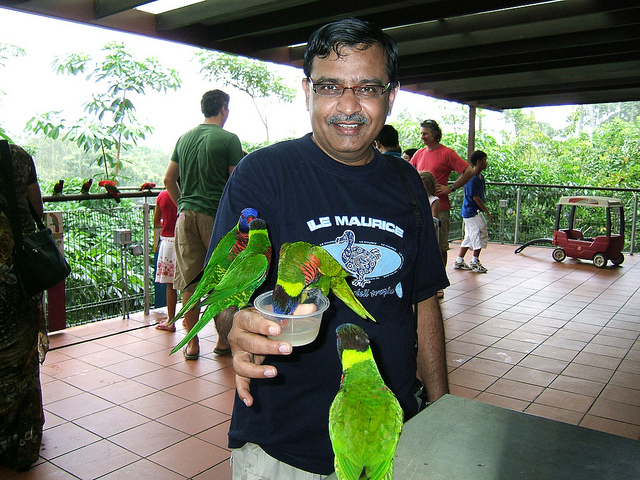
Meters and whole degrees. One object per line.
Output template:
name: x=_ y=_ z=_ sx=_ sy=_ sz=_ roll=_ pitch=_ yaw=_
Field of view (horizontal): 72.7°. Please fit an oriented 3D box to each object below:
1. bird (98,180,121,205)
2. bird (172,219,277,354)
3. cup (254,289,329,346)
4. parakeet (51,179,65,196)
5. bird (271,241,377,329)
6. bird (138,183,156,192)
bird: x=-2.586 y=-0.626 z=5.410 sx=0.224 sy=0.181 sz=0.534 roll=-4 pitch=26 yaw=-28
bird: x=-0.279 y=0.119 z=1.244 sx=0.393 sy=0.267 sz=0.120 roll=-20 pitch=20 yaw=-8
cup: x=-0.079 y=0.205 z=1.158 sx=0.194 sy=0.143 sz=0.150 roll=1 pitch=11 yaw=0
parakeet: x=-2.991 y=-0.591 z=4.983 sx=0.115 sy=0.154 sz=0.277 roll=-5 pitch=12 yaw=-31
bird: x=0.006 y=0.124 z=1.276 sx=0.145 sy=0.229 sz=0.396 roll=-7 pitch=-7 yaw=38
bird: x=-2.377 y=-0.727 z=6.048 sx=0.230 sy=0.132 sz=0.087 roll=4 pitch=19 yaw=-39
